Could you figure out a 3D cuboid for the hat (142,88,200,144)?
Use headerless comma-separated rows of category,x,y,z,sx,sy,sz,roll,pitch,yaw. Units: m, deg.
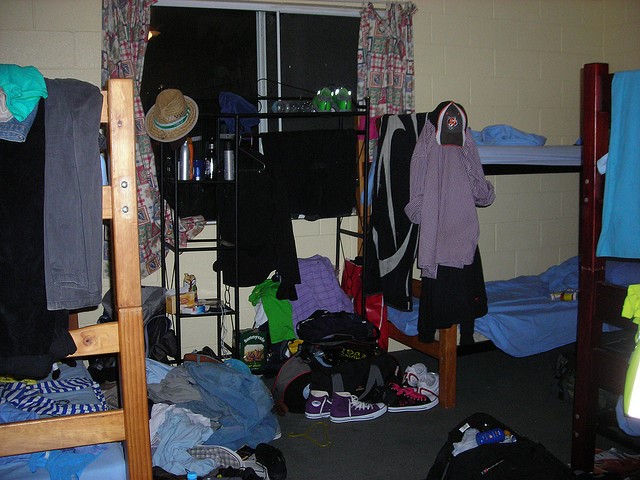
hat,-0.948,-0.788,3.756,0.324,0.356,0.119,-24,-14,7

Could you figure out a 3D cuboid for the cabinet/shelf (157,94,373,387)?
cabinet/shelf,-0.422,0.011,4.001,1.703,2.325,0.720,-2,11,-14

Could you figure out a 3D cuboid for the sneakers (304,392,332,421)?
sneakers,-0.011,1.030,3.601,0.096,0.108,0.223,2,1,44

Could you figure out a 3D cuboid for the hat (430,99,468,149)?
hat,0.791,-0.695,3.497,0.170,0.288,0.154,-1,-15,0

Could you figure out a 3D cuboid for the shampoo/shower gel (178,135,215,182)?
shampoo/shower gel,-0.818,-0.555,3.899,0.205,0.275,0.406,-1,11,7

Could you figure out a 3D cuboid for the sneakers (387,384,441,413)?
sneakers,0.589,0.996,3.770,0.371,0.181,0.148,-3,15,-2
